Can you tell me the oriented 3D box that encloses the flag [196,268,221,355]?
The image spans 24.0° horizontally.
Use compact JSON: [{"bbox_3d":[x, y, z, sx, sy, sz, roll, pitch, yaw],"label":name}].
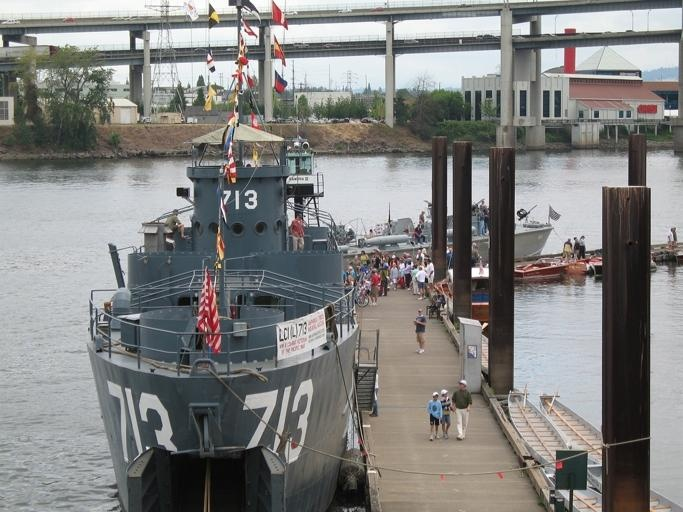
[{"bbox_3d":[-6.314,2.552,77.178,1.142,4.046,1.527,-1,5,-6],"label":"flag"}]
